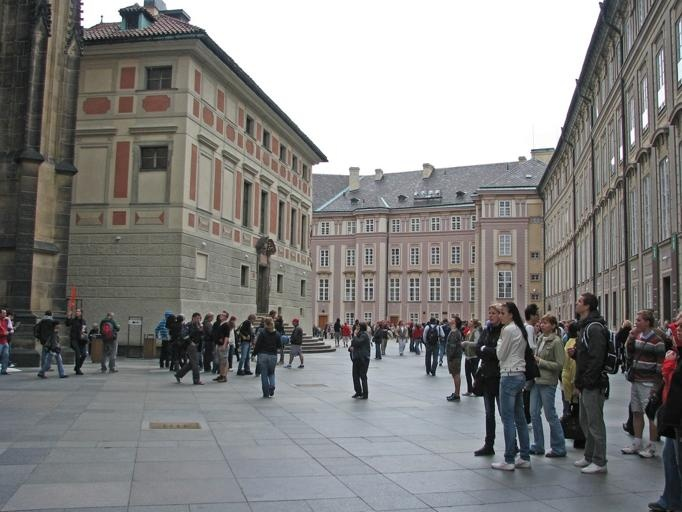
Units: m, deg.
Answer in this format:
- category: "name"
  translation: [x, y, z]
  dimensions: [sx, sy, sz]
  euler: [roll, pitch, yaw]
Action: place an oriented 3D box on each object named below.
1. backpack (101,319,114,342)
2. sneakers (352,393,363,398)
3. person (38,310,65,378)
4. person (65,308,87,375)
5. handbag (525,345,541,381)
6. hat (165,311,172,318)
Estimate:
- category: "backpack"
  translation: [-7.511, 2.381, 23.291]
  dimensions: [0.409, 0.678, 0.272]
  euler: [2, -8, -14]
- category: "sneakers"
  translation: [0.395, 3.577, 18.490]
  dimensions: [0.280, 0.130, 0.098]
  euler: [0, -5, 27]
- category: "person"
  translation: [-8.555, 2.685, 21.507]
  dimensions: [0.683, 1.807, 1.549]
  euler: [3, -9, -21]
- category: "person"
  translation: [-8.339, 2.701, 22.826]
  dimensions: [0.605, 2.044, 1.464]
  euler: [3, -8, -21]
- category: "handbag"
  translation: [3.059, 1.713, 11.619]
  dimensions: [0.199, 0.557, 0.346]
  euler: [-2, -8, 17]
- category: "hat"
  translation: [-6.156, 2.057, 25.801]
  dimensions: [0.272, 0.406, 0.392]
  euler: [0, -4, -9]
